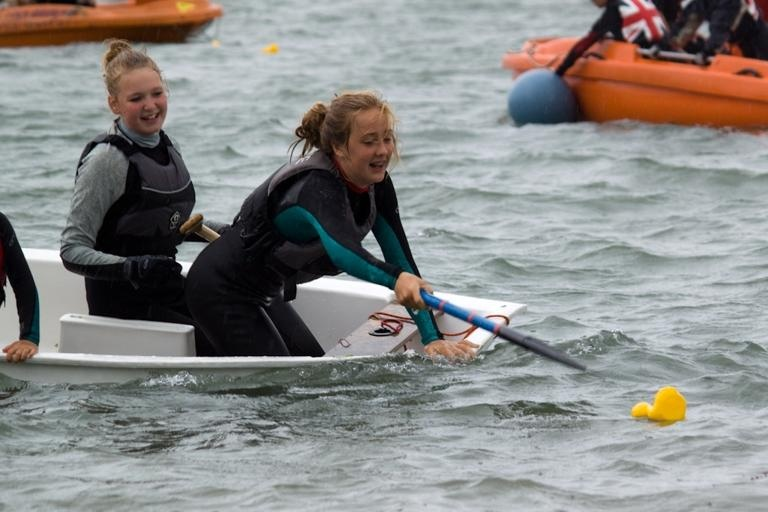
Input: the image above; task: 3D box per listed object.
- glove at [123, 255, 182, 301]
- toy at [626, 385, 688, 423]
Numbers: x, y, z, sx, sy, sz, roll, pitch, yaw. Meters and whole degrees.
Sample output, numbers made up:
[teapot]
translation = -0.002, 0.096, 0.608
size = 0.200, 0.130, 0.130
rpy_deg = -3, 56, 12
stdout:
[glove]
translation = -1.697, 0.162, 10.541
size = 0.423, 0.411, 0.381
rpy_deg = 3, 20, -7
[toy]
translation = 2.016, 1.062, 10.253
size = 0.443, 0.236, 0.414
rpy_deg = -8, 16, 17
